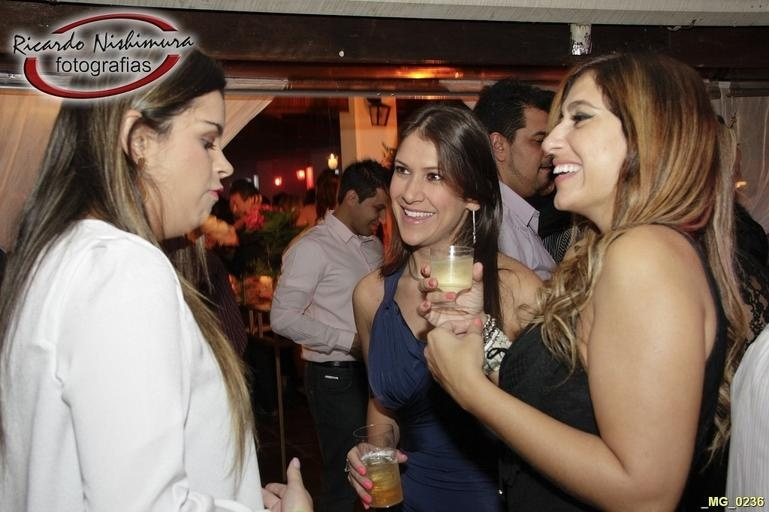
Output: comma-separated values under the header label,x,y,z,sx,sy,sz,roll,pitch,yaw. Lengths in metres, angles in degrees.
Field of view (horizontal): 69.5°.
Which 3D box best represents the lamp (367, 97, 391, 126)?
label,x,y,z,sx,sy,sz,roll,pitch,yaw
lamp,-0.050,-1.249,4.784,0.167,0.212,0.152,1,-5,-26
